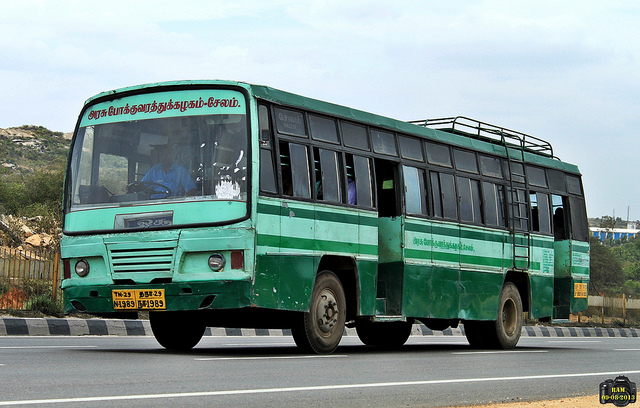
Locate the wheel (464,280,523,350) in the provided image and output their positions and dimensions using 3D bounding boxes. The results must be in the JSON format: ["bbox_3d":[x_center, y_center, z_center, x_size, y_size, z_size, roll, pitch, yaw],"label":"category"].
[{"bbox_3d":[5.258,3.355,16.831,0.717,2.357,2.322,-7,-11,42],"label":"wheel"}]

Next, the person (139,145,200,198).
[{"bbox_3d":[-2.876,-0.526,10.672,1.403,1.014,0.439,-1,-6,6],"label":"person"}]
